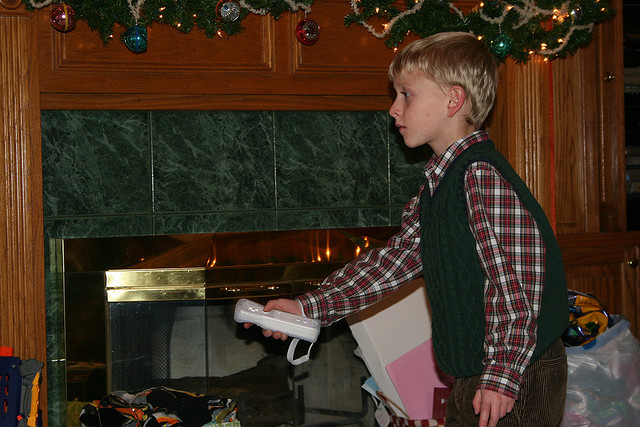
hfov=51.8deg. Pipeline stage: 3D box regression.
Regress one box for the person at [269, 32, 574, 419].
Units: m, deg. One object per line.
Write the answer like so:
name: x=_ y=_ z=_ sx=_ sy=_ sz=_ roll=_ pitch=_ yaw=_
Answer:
person: x=0.370 y=0.035 z=2.074 sx=0.670 sy=1.009 sz=0.287 roll=-7 pitch=-3 yaw=33

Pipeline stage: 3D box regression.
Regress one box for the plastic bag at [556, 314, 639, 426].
plastic bag: x=1.116 y=0.641 z=2.740 sx=0.277 sy=0.456 sz=0.315 roll=1 pitch=9 yaw=-6

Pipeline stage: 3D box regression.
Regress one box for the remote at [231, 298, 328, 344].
remote: x=-0.132 y=0.343 z=2.135 sx=0.349 sy=0.115 sz=0.101 roll=15 pitch=-29 yaw=5
